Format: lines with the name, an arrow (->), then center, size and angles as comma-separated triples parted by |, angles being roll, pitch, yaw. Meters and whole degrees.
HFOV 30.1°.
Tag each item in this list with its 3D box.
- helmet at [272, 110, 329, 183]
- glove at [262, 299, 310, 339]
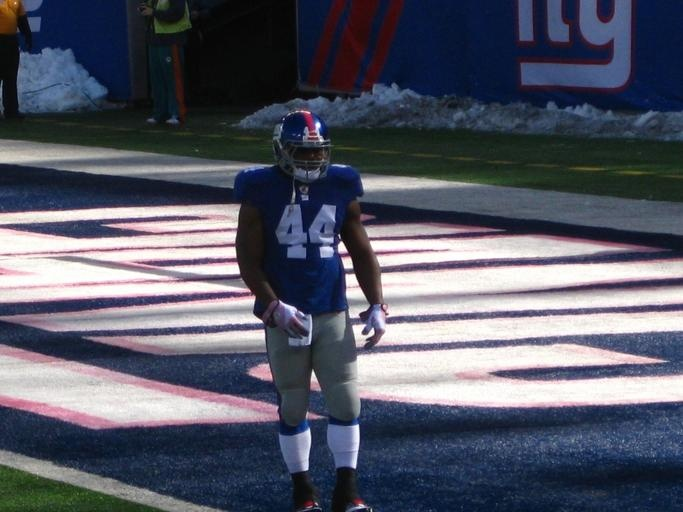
helmet -> -0.191, -0.533, 6.261 | 0.345, 0.275, 0.382 | -6, 27, -19
glove -> -0.279, 0.305, 6.142 | 0.149, 0.173, 0.195 | -5, 13, -29
